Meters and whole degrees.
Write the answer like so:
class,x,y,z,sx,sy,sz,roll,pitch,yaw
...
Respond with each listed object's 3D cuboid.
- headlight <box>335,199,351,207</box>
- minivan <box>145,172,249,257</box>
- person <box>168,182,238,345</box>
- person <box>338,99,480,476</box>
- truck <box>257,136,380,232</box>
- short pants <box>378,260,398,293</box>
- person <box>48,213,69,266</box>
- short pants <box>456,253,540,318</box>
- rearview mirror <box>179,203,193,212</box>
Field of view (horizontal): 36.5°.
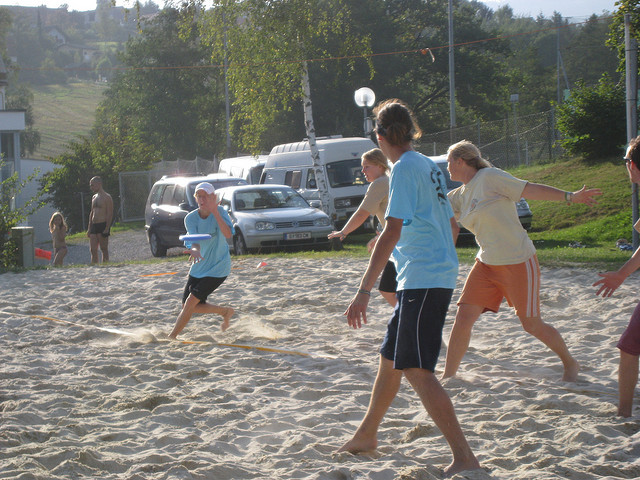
class,x,y,z,sx,sy,sz,roll,pitch,yaw
headlight,0.538,-0.881,22.862,0.376,0.160,0.054,-3,14,-14
minivan,-2.980,-0.659,21.979,1.530,1.319,2.587,-1,-1,-35
person,-1.588,0.300,13.195,0.783,2.087,0.563,-3,14,-9
person,1.040,0.477,10.322,1.318,3.777,1.193,2,14,10
truck,-0.113,-1.580,23.854,1.954,1.869,3.116,-3,4,-30
short pants,0.869,0.459,12.342,0.137,0.427,0.422,-8,16,-28
person,-5.430,0.000,20.137,0.321,1.232,1.175,-4,14,-15
short pants,2.181,0.520,11.708,0.934,0.754,0.241,3,14,13
rearview mirror,-2.797,-0.691,20.220,0.257,0.217,0.199,10,-5,-20
